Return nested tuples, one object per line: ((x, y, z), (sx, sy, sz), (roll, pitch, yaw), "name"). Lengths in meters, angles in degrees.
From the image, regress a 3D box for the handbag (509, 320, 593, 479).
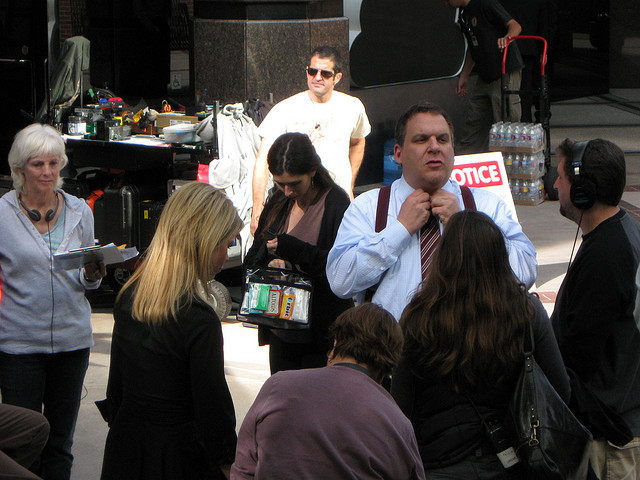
((0.877, 0.674, 2.276), (0.317, 0.478, 0.165), (1, 4, 10), "handbag")

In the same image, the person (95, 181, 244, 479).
((-0.661, 0.398, 2.663), (0.627, 1.304, 0.322), (0, 4, -9), "person")

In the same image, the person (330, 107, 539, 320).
((0.533, -0.018, 3.096), (1.016, 1.263, 0.634), (-1, 5, -2), "person")

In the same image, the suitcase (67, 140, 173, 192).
((-2.415, -0.767, 7.603), (1.179, 0.861, 0.716), (3, 7, 26), "suitcase")

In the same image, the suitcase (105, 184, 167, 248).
((-2.210, -0.351, 7.555), (0.487, 0.881, 0.884), (0, 17, 8), "suitcase")
